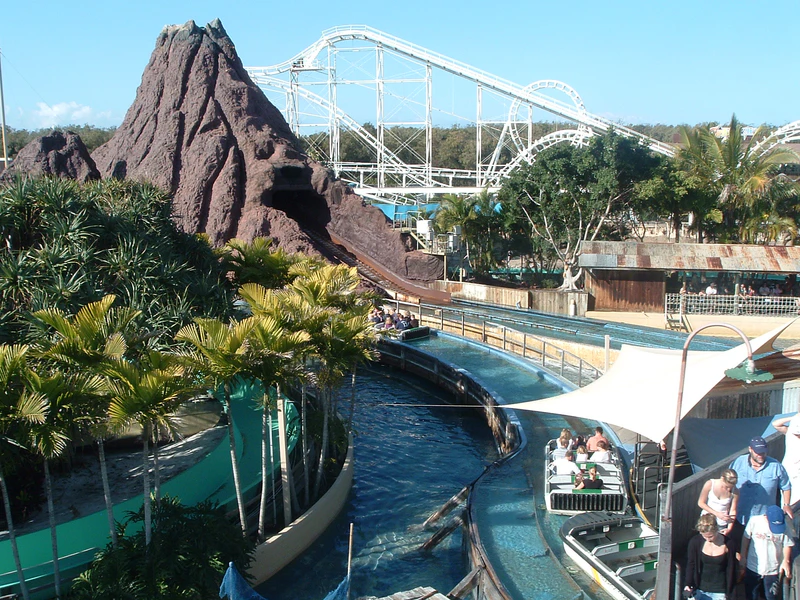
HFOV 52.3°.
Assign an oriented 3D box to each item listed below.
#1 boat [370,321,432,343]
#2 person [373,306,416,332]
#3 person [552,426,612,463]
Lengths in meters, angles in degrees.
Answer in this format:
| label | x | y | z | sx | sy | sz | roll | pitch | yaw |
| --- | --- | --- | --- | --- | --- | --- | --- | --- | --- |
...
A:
| label | x | y | z | sx | sy | sz | roll | pitch | yaw |
| --- | --- | --- | --- | --- | --- | --- | --- | --- | --- |
| boat | 0.224 | 1.134 | 28.051 | 0.577 | 0.684 | 2.171 | 1 | 15 | 39 |
| person | -0.236 | 0.577 | 28.197 | 1.092 | 0.425 | 0.871 | 0 | 10 | -23 |
| person | 3.558 | 2.861 | 15.898 | 0.957 | 0.512 | 0.584 | -4 | 13 | -2 |
